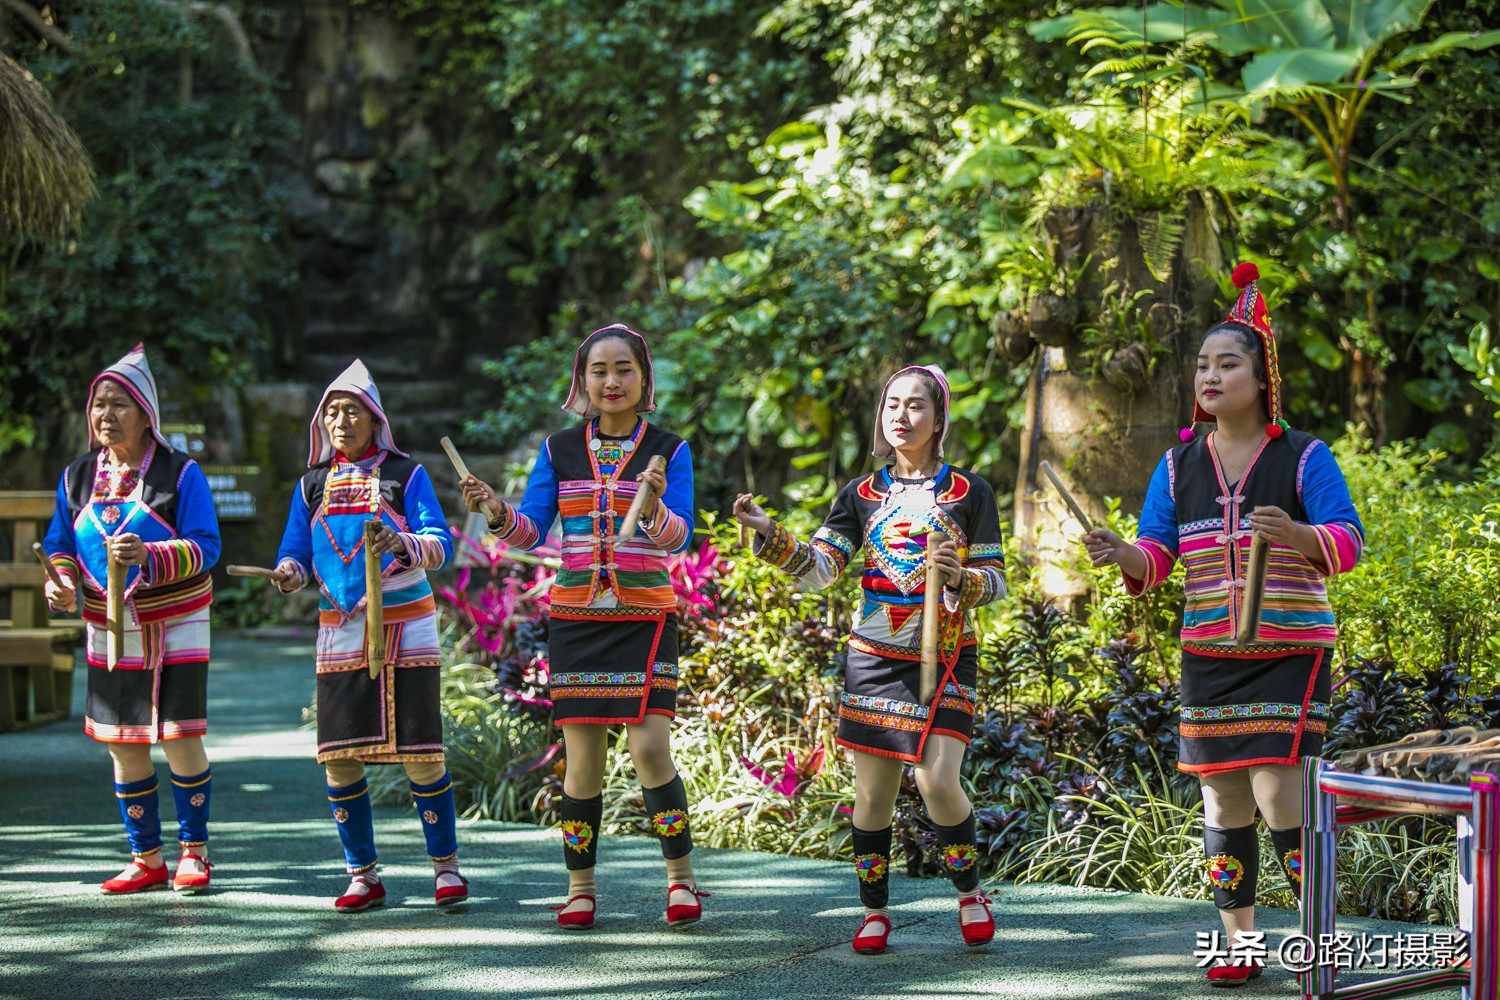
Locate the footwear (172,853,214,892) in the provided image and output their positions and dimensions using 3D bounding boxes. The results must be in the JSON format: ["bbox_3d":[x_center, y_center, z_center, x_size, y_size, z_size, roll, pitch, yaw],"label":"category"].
[{"bbox_3d":[-2.865,1.949,11.445,0.193,0.149,0.503,1,-3,-13],"label":"footwear"}]

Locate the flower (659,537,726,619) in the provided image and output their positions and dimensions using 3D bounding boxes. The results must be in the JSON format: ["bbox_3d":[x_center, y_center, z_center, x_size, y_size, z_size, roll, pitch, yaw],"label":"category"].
[{"bbox_3d":[-0.299,0.481,12.857,0.406,0.368,0.170,1,-37,-4],"label":"flower"}]

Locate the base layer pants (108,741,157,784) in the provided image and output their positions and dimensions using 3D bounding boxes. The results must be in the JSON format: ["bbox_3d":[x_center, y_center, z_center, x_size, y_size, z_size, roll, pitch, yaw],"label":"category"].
[{"bbox_3d":[-3.191,1.362,11.422,0.234,0.206,0.138,-2,-5,14],"label":"base layer pants"}]

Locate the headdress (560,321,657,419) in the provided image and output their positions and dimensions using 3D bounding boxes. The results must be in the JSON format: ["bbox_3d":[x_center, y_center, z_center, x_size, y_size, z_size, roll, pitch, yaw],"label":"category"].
[{"bbox_3d":[-0.692,-0.705,11.294,0.478,0.468,0.521,0,12,1],"label":"headdress"}]

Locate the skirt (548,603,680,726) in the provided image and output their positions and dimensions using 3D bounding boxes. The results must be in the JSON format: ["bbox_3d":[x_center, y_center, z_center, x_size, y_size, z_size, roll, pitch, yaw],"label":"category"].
[{"bbox_3d":[-0.671,0.886,11.186,0.935,0.684,0.508,0,-16,-5],"label":"skirt"}]

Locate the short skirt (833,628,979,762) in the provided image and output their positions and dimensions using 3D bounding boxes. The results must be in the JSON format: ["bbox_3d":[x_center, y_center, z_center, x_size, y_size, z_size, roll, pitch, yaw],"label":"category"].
[{"bbox_3d":[0.794,0.954,10.801,0.682,0.571,0.358,8,-15,10],"label":"short skirt"}]

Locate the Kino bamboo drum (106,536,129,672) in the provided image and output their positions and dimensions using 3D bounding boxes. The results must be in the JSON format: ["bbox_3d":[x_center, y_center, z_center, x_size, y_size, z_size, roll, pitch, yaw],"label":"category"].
[{"bbox_3d":[-3.215,0.583,11.285,0.087,0.552,0.235,1,-5,-15],"label":"Kino bamboo drum"}]

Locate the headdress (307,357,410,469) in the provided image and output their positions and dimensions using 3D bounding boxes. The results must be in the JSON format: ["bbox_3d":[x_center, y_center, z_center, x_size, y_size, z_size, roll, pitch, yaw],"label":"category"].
[{"bbox_3d":[-2.050,-0.427,11.429,0.402,0.409,0.422,-10,-9,-4],"label":"headdress"}]

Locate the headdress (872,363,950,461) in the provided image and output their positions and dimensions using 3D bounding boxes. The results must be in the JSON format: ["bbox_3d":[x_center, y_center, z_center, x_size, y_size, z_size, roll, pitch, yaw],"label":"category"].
[{"bbox_3d":[0.786,-0.442,11.121,0.383,0.500,0.527,2,-26,13],"label":"headdress"}]

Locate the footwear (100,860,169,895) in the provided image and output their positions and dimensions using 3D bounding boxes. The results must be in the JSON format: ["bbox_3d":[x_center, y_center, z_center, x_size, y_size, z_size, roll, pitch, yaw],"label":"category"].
[{"bbox_3d":[-3.151,1.961,11.398,0.324,0.121,0.156,2,-3,-7],"label":"footwear"}]

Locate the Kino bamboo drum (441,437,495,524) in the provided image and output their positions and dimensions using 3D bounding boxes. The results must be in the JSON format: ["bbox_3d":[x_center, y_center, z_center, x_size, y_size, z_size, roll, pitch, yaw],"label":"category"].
[{"bbox_3d":[-2.028,-0.136,15.993,0.177,1.210,0.214,-32,-50,-1],"label":"Kino bamboo drum"}]

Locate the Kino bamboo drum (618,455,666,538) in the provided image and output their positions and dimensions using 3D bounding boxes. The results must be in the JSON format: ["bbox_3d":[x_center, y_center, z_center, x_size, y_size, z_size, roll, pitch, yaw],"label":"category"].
[{"bbox_3d":[-0.517,-0.027,10.898,0.237,0.432,0.313,0,-5,-3],"label":"Kino bamboo drum"}]

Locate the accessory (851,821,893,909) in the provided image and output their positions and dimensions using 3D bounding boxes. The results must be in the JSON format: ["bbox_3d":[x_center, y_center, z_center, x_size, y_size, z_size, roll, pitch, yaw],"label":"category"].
[{"bbox_3d":[0.630,1.846,10.900,0.207,0.369,0.152,-9,-7,27],"label":"accessory"}]

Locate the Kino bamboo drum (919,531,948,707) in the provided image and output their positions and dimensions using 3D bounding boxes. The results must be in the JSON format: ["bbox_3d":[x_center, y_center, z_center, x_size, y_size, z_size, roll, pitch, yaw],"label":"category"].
[{"bbox_3d":[0.909,0.572,10.718,0.137,0.846,0.141,-1,-5,0],"label":"Kino bamboo drum"}]

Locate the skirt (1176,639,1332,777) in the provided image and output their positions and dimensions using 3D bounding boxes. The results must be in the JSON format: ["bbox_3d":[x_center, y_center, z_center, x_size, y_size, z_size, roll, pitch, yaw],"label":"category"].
[{"bbox_3d":[2.554,1.020,10.749,0.499,0.630,0.857,10,-11,-42],"label":"skirt"}]

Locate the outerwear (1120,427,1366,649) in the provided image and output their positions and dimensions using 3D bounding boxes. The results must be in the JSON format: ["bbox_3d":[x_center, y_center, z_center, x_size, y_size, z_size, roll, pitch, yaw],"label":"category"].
[{"bbox_3d":[2.440,0.171,10.777,1.216,1.058,0.853,-1,1,33],"label":"outerwear"}]

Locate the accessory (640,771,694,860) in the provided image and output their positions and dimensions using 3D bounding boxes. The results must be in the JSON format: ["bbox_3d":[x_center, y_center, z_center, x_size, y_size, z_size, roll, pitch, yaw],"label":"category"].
[{"bbox_3d":[-0.389,1.599,11.063,0.232,0.415,0.172,-14,2,1],"label":"accessory"}]

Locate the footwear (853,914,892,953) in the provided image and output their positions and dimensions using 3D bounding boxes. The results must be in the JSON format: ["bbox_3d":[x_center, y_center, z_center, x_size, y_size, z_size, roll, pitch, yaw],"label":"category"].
[{"bbox_3d":[0.620,2.147,10.835,0.106,0.109,0.274,4,7,12],"label":"footwear"}]

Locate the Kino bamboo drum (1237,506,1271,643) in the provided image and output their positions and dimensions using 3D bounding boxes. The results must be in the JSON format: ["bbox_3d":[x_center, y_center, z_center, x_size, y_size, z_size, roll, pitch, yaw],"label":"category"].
[{"bbox_3d":[2.395,0.421,10.453,0.163,0.535,0.249,-2,-5,12],"label":"Kino bamboo drum"}]

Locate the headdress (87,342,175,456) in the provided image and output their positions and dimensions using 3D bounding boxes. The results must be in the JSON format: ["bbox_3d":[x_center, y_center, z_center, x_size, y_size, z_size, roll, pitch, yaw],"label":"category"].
[{"bbox_3d":[-3.222,-0.618,11.575,0.451,0.453,0.468,7,10,3],"label":"headdress"}]

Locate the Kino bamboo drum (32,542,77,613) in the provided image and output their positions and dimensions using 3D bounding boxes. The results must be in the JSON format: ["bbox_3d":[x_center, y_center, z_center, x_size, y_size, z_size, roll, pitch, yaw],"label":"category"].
[{"bbox_3d":[-3.566,0.398,11.406,0.191,0.351,0.385,1,-5,-18],"label":"Kino bamboo drum"}]

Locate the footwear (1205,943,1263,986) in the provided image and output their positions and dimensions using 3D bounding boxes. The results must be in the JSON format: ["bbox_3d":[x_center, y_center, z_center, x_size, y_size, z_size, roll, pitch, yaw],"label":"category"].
[{"bbox_3d":[2.335,2.253,10.567,0.135,0.123,0.308,-9,-14,38],"label":"footwear"}]

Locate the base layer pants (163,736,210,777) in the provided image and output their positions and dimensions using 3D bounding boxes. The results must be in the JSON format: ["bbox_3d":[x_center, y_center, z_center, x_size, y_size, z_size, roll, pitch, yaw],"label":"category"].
[{"bbox_3d":[-2.890,1.338,11.549,0.227,0.220,0.218,-12,1,8],"label":"base layer pants"}]

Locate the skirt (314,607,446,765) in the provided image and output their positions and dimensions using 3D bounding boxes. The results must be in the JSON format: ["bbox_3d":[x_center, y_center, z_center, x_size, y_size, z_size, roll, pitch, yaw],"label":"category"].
[{"bbox_3d":[-1.866,0.949,11.195,0.769,0.869,0.537,-3,-14,-7],"label":"skirt"}]

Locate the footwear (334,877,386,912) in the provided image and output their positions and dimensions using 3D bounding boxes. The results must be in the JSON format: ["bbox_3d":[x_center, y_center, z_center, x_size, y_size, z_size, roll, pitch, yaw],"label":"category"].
[{"bbox_3d":[-1.950,2.022,11.292,0.123,0.128,0.324,-3,-8,22],"label":"footwear"}]

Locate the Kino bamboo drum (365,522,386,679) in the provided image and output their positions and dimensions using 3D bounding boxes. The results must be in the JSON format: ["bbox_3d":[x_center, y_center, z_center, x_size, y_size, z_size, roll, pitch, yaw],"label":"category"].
[{"bbox_3d":[-1.867,0.494,11.101,0.088,0.806,0.219,0,-5,-8],"label":"Kino bamboo drum"}]

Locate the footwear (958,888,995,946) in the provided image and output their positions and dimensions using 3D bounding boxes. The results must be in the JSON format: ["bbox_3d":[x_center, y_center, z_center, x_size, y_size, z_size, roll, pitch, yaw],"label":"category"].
[{"bbox_3d":[1.134,2.070,10.886,0.135,0.310,0.104,-10,-23,15],"label":"footwear"}]

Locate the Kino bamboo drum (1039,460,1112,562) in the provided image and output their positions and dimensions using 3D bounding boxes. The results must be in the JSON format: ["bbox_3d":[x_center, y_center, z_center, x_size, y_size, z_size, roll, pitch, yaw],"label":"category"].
[{"bbox_3d":[1.860,0.068,12.423,0.099,0.723,0.126,-34,15,35],"label":"Kino bamboo drum"}]
